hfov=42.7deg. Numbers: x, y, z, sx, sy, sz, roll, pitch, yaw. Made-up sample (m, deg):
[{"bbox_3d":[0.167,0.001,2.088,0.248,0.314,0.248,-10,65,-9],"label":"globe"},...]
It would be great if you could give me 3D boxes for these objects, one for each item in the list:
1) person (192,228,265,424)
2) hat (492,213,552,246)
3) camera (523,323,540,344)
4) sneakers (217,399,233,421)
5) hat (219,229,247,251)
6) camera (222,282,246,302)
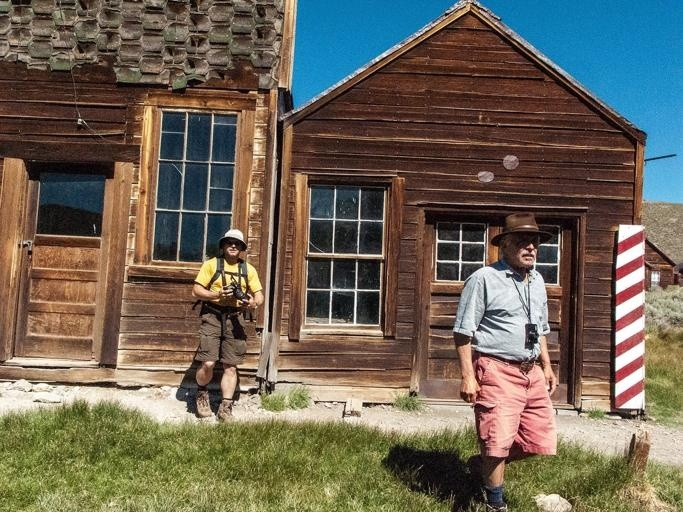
[{"bbox_3d":[-1.535,0.876,11.360,0.689,2.384,0.777,10,13,26],"label":"person"},{"bbox_3d":[1.950,-0.325,9.729,0.455,0.183,0.508,1,-13,-1],"label":"hat"},{"bbox_3d":[2.052,0.864,9.447,0.144,0.253,0.100,5,12,3],"label":"camera"},{"bbox_3d":[-1.477,1.984,11.150,0.198,0.247,0.373,3,12,-7],"label":"sneakers"},{"bbox_3d":[-1.398,-0.240,11.435,0.267,0.172,0.341,7,-30,-9],"label":"hat"},{"bbox_3d":[-1.362,0.458,11.241,0.254,0.201,0.114,33,0,-22],"label":"camera"}]
